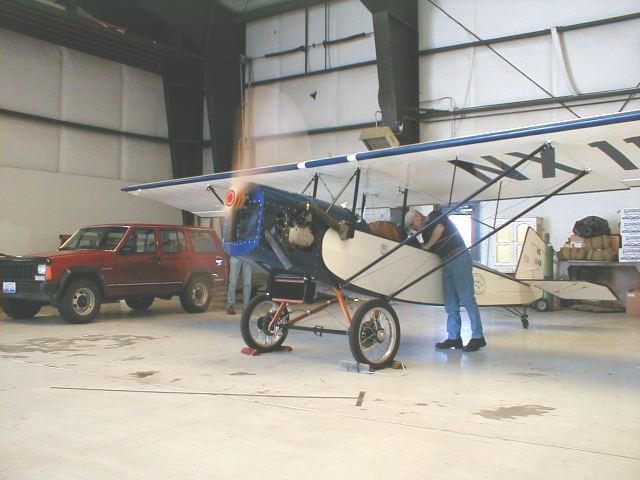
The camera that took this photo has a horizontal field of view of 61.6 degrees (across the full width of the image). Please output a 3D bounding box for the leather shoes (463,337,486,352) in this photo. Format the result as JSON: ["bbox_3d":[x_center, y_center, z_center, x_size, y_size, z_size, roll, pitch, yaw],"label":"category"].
[{"bbox_3d":[1.802,1.222,6.302,0.313,0.127,0.112,2,-4,-34],"label":"leather shoes"}]

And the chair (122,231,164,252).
[{"bbox_3d":[-2.973,0.020,8.900,0.444,0.252,0.462,6,-1,-15],"label":"chair"}]

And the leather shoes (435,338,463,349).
[{"bbox_3d":[1.556,1.253,6.496,0.369,0.158,0.126,3,-4,-11],"label":"leather shoes"}]
